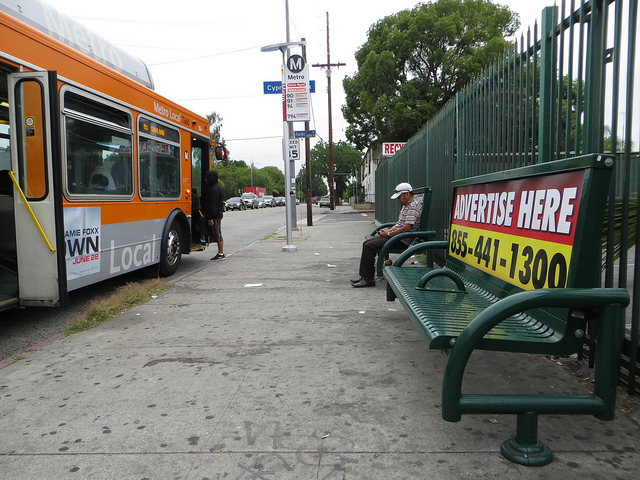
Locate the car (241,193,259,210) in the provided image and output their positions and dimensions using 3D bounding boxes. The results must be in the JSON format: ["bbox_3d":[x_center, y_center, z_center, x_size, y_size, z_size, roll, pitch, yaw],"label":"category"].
[{"bbox_3d":[-8.446,-4.562,56.267,1.053,1.697,4.772,-1,9,5],"label":"car"}]

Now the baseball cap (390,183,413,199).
[{"bbox_3d":[1.245,-0.781,7.196,0.283,0.168,0.200,-16,10,11],"label":"baseball cap"}]

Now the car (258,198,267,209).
[{"bbox_3d":[-8.103,-5.094,65.980,0.913,0.770,2.084,0,-3,-16],"label":"car"}]

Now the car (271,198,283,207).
[{"bbox_3d":[-7.066,-6.315,78.737,1.283,0.903,2.565,-2,-2,-2],"label":"car"}]

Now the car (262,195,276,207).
[{"bbox_3d":[-7.752,-6.060,71.395,1.266,1.137,2.987,-1,0,2],"label":"car"}]

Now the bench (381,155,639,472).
[{"bbox_3d":[1.457,0.593,3.562,0.707,1.306,2.341,-1,1,1],"label":"bench"}]

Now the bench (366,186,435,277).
[{"bbox_3d":[1.180,-0.192,7.393,0.886,1.194,1.673,-2,8,-4],"label":"bench"}]

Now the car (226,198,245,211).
[{"bbox_3d":[-9.470,-3.995,53.018,1.633,1.242,2.387,-1,9,2],"label":"car"}]
